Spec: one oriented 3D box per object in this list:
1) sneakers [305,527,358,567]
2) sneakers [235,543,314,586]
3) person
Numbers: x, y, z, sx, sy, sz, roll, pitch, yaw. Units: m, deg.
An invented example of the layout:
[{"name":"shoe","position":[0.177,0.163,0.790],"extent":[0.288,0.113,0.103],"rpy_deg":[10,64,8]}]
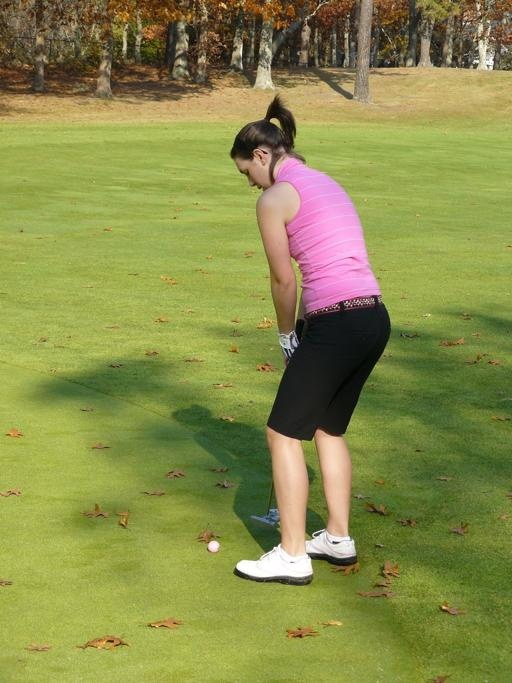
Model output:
[{"name":"sneakers","position":[0.365,0.937,3.797],"extent":[0.121,0.105,0.312],"rpy_deg":[-18,16,-40]},{"name":"sneakers","position":[0.108,0.975,3.595],"extent":[0.394,0.139,0.137],"rpy_deg":[4,2,2]},{"name":"person","position":[0.166,0.004,3.547],"extent":[0.635,2.089,0.459],"rpy_deg":[13,14,32]}]
